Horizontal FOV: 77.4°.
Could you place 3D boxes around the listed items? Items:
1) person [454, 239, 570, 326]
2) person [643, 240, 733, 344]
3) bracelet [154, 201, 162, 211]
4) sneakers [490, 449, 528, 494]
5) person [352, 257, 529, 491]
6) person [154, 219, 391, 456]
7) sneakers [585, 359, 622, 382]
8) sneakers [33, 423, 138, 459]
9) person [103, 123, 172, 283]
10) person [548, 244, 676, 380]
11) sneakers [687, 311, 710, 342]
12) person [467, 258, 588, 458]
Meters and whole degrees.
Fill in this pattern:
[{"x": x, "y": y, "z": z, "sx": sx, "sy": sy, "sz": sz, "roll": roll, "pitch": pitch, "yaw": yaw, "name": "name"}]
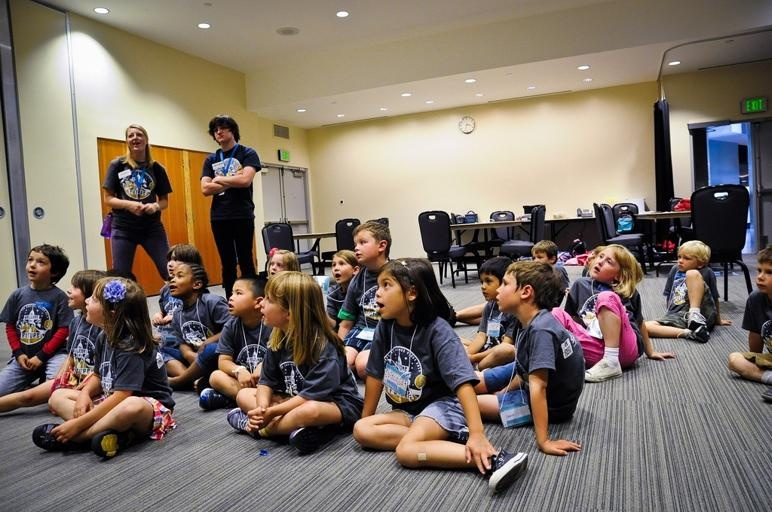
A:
[{"x": 1.168, "y": 0.231, "z": 4.131, "sx": 1.101, "sy": 0.904, "sz": 0.641, "roll": -2, "pitch": -6, "yaw": 2, "name": "person"}, {"x": 2.462, "y": 0.292, "z": 4.143, "sx": 0.785, "sy": 0.915, "sz": 0.699, "roll": -2, "pitch": -1, "yaw": -29, "name": "person"}, {"x": -1.926, "y": -0.412, "z": 4.065, "sx": 0.061, "sy": 0.065, "sz": 0.056, "roll": 28, "pitch": -28, "yaw": -18, "name": "bracelet"}, {"x": 0.525, "y": 0.902, "z": 2.061, "sx": 0.105, "sy": 0.096, "sz": 0.236, "roll": 37, "pitch": 15, "yaw": 27, "name": "sneakers"}, {"x": 0.207, "y": 0.495, "z": 2.257, "sx": 0.699, "sy": 0.898, "sz": 0.446, "roll": 3, "pitch": 13, "yaw": 23, "name": "person"}, {"x": -0.515, "y": 0.491, "z": 2.868, "sx": 0.735, "sy": 1.113, "sz": 0.876, "roll": 3, "pitch": -4, "yaw": -27, "name": "person"}, {"x": 1.415, "y": 0.723, "z": 3.068, "sx": 0.292, "sy": 0.138, "sz": 0.115, "roll": -2, "pitch": -4, "yaw": -17, "name": "sneakers"}, {"x": -1.564, "y": 0.928, "z": 2.466, "sx": 0.496, "sy": 0.146, "sz": 0.179, "roll": 0, "pitch": 13, "yaw": 11, "name": "sneakers"}, {"x": -2.061, "y": -0.426, "z": 3.979, "sx": 0.507, "sy": 1.275, "sz": 0.566, "roll": -8, "pitch": 13, "yaw": -22, "name": "person"}, {"x": 1.606, "y": 0.408, "z": 3.361, "sx": 0.507, "sy": 0.703, "sz": 0.771, "roll": 10, "pitch": -14, "yaw": -34, "name": "person"}, {"x": 2.368, "y": 0.533, "z": 3.618, "sx": 0.106, "sy": 0.201, "sz": 0.315, "roll": -7, "pitch": -15, "yaw": 19, "name": "sneakers"}, {"x": 0.818, "y": 0.458, "z": 2.648, "sx": 0.738, "sy": 0.980, "sz": 0.752, "roll": -1, "pitch": 4, "yaw": 28, "name": "person"}]
